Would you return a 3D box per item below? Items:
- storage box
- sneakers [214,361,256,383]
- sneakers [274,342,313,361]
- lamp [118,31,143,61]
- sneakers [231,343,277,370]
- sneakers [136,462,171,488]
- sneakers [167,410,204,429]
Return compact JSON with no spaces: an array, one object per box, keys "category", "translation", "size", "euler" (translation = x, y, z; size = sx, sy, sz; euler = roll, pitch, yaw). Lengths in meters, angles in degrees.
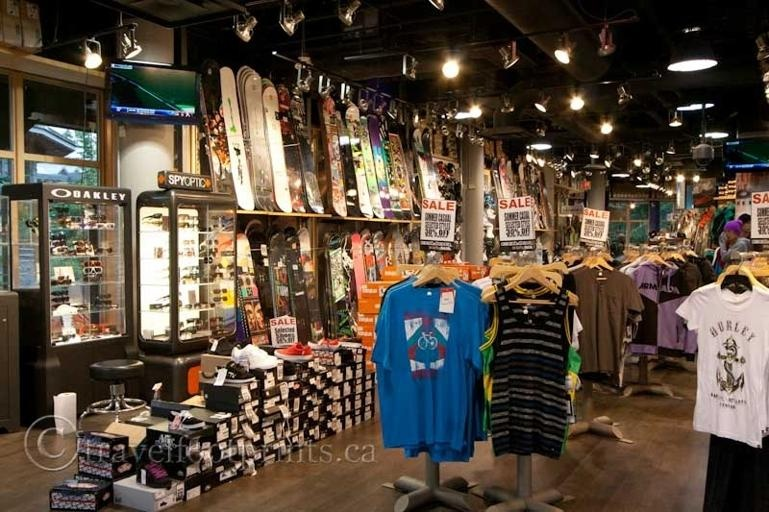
[{"category":"storage box","translation":[-0.487,0.971,5.279],"size":[2.904,1.929,2.284],"euler":[1,5,10]},{"category":"sneakers","translation":[-1.393,1.057,4.948],"size":[0.371,0.160,0.165],"euler":[-1,-3,2]},{"category":"sneakers","translation":[-0.912,0.939,5.380],"size":[0.314,0.137,0.175],"euler":[3,-3,-9]},{"category":"lamp","translation":[-3.009,-2.433,6.218],"size":[0.390,0.287,0.142],"euler":[5,7,39]},{"category":"sneakers","translation":[-1.240,0.933,5.124],"size":[0.352,0.144,0.228],"euler":[3,1,6]},{"category":"sneakers","translation":[-1.881,1.741,4.357],"size":[0.249,0.132,0.153],"euler":[2,0,34]},{"category":"sneakers","translation":[-1.685,1.352,4.515],"size":[0.286,0.109,0.127],"euler":[-1,-3,24]}]
